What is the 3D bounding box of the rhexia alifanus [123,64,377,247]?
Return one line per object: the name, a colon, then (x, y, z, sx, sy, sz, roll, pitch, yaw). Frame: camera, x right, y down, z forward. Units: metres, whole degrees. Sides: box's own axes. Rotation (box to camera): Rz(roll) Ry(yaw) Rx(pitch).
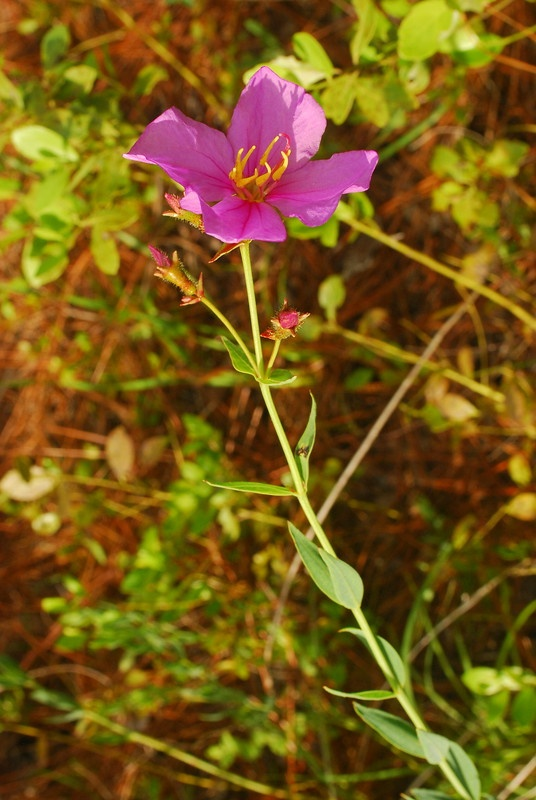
rhexia alifanus: (-0.016, -0.333, 1.035, 0.294, 0.118, 0.255, -39, 70, -14)
